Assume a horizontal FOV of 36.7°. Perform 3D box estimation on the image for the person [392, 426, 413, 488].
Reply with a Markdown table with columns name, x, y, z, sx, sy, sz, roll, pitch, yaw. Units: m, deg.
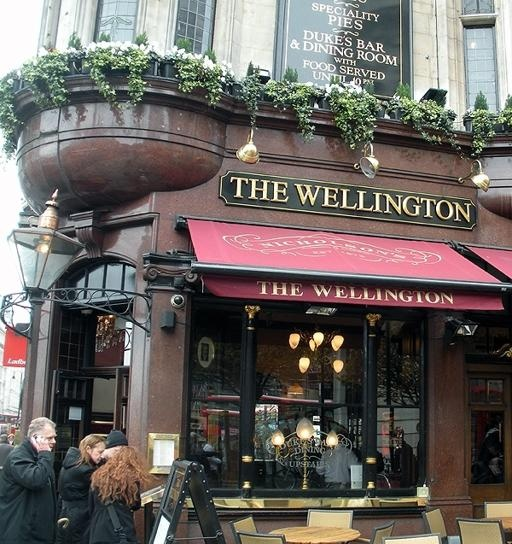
| name | x | y | z | sx | sy | sz | roll | pitch | yaw |
| --- | --- | --- | --- | --- | --- | --- | --- | --- | --- |
| person | 2.164 | 2.840 | 11.499 | 0.282 | 1.054 | 0.258 | -8 | 5 | 0 |

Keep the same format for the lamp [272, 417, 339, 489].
| name | x | y | z | sx | sy | sz | roll | pitch | yaw |
| --- | --- | --- | --- | --- | --- | --- | --- | --- | --- |
| lamp | 0.667 | 2.639 | 11.055 | 1.105 | 0.978 | 0.248 | 3 | -23 | -8 |

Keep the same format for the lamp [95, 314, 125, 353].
| name | x | y | z | sx | sy | sz | roll | pitch | yaw |
| --- | --- | --- | --- | --- | --- | --- | --- | --- | --- |
| lamp | -2.282 | 0.973 | 12.322 | 0.219 | 0.602 | 0.641 | 13 | -16 | -43 |

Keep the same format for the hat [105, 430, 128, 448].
| name | x | y | z | sx | sy | sz | roll | pitch | yaw |
| --- | --- | --- | --- | --- | --- | --- | --- | --- | --- |
| hat | -1.459 | 1.760 | 8.111 | 0.182 | 0.162 | 0.219 | 4 | -21 | -26 |

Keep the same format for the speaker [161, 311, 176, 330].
| name | x | y | z | sx | sy | sz | roll | pitch | yaw |
| --- | --- | --- | --- | --- | --- | --- | --- | --- | --- |
| speaker | -1.198 | 0.672 | 10.538 | 0.217 | 0.266 | 0.160 | 2 | -12 | -6 |

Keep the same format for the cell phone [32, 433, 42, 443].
| name | x | y | z | sx | sy | sz | roll | pitch | yaw |
| --- | --- | --- | --- | --- | --- | --- | --- | --- | --- |
| cell phone | -2.223 | 1.694 | 7.844 | 0.089 | 0.081 | 0.029 | -23 | -23 | 9 |

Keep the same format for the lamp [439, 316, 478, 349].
| name | x | y | z | sx | sy | sz | roll | pitch | yaw |
| --- | --- | --- | --- | --- | --- | --- | --- | --- | --- |
| lamp | 3.008 | 0.863 | 11.440 | 0.413 | 0.421 | 0.622 | 0 | -11 | 5 |

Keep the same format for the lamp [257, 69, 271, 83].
| name | x | y | z | sx | sy | sz | roll | pitch | yaw |
| --- | --- | --- | --- | --- | --- | --- | --- | --- | --- |
| lamp | 0.108 | -3.026 | 11.802 | 0.274 | 0.229 | 0.068 | -1 | 3 | -35 |

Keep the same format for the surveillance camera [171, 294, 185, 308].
| name | x | y | z | sx | sy | sz | roll | pitch | yaw |
| --- | --- | --- | --- | --- | --- | --- | --- | --- | --- |
| surveillance camera | -1.071 | 0.405 | 10.654 | 0.198 | 0.171 | 0.108 | -7 | 1 | 3 |
